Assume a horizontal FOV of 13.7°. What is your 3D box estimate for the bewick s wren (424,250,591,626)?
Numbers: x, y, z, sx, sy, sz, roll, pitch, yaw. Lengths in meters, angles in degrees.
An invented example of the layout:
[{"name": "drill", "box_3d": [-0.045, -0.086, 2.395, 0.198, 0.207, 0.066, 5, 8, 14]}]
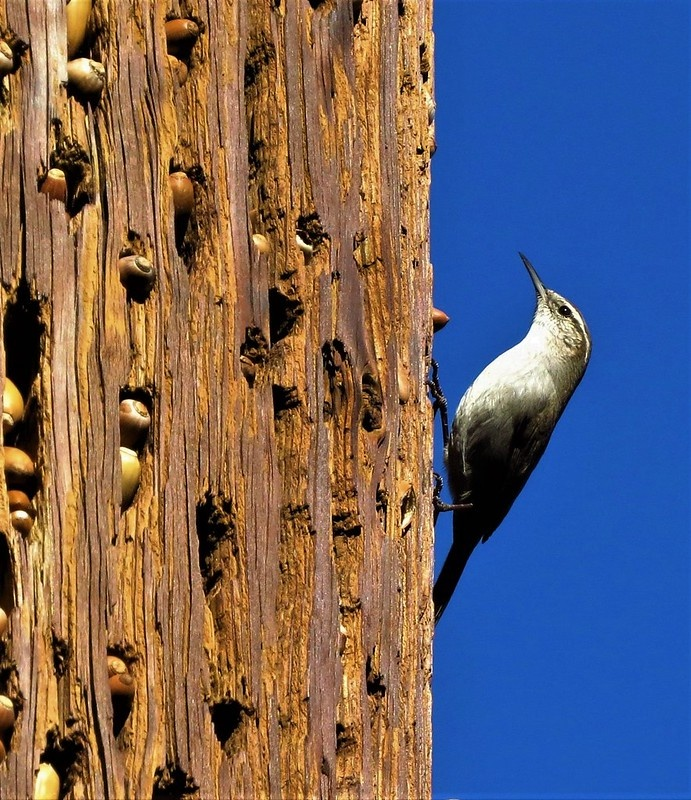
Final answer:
[{"name": "bewick s wren", "box_3d": [0.377, 0.102, 7.457, 0.143, 0.463, 0.854, 16, -62, 7]}]
